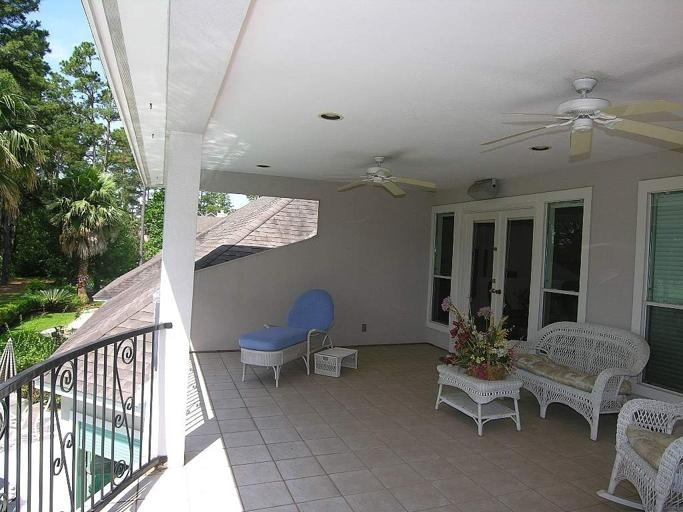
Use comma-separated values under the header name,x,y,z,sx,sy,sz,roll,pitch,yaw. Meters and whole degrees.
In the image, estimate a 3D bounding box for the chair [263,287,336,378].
name,x,y,z,sx,sy,sz,roll,pitch,yaw
chair,-0.777,0.997,7.141,0.911,1.253,1.199,-2,-5,30

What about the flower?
name,x,y,z,sx,sy,sz,roll,pitch,yaw
flower,1.502,0.930,5.279,0.786,0.870,0.680,3,2,32

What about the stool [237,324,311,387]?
name,x,y,z,sx,sy,sz,roll,pitch,yaw
stool,-0.918,1.284,6.496,0.682,0.583,1.023,1,2,21

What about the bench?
name,x,y,z,sx,sy,sz,roll,pitch,yaw
bench,2.682,1.290,5.456,1.075,1.095,1.848,2,1,-16

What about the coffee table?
name,x,y,z,sx,sy,sz,roll,pitch,yaw
coffee table,1.538,1.585,5.408,0.570,0.473,1.020,2,-3,-16

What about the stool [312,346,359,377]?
name,x,y,z,sx,sy,sz,roll,pitch,yaw
stool,-0.134,1.497,6.755,0.373,0.245,0.512,-1,-2,26
